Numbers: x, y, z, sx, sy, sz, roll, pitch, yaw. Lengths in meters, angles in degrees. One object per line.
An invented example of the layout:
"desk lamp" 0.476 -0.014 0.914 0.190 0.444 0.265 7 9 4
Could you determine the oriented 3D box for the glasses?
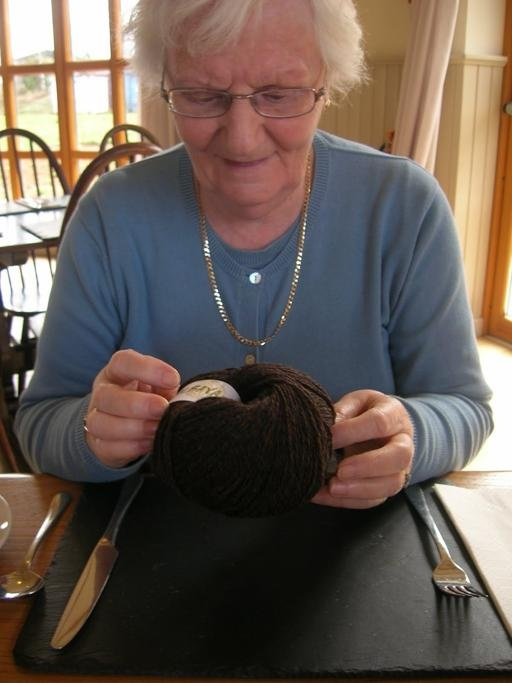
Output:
"glasses" -0.015 -0.278 0.651 0.187 0.040 0.078 1 18 2
